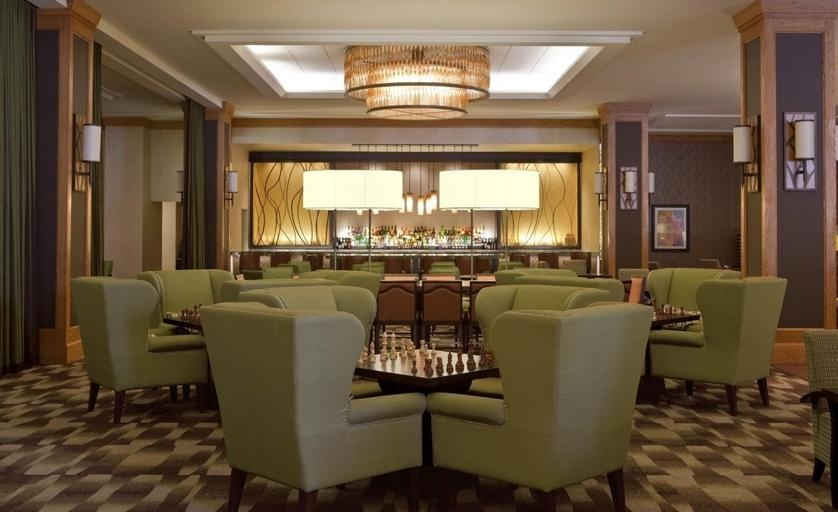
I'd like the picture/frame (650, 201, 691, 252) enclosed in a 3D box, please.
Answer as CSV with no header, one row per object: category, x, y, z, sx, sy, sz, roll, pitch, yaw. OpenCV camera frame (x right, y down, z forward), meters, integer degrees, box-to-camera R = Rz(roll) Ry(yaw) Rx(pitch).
picture/frame,6.283,-0.794,14.779,1.302,1.560,0.132,0,1,2

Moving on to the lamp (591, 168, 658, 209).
lamp,4.199,-1.436,12.373,1.013,0.723,0.288,1,7,5

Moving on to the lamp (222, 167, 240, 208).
lamp,-3.882,-1.468,12.221,0.263,0.782,0.512,-2,1,-18

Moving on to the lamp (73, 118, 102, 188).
lamp,-4.400,-1.346,7.977,0.333,1.013,0.395,13,11,32

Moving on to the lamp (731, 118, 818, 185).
lamp,4.793,-1.420,7.937,0.971,1.059,0.333,0,-2,15

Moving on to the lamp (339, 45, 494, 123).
lamp,-0.015,-2.696,9.337,2.191,0.847,2.226,5,8,43
